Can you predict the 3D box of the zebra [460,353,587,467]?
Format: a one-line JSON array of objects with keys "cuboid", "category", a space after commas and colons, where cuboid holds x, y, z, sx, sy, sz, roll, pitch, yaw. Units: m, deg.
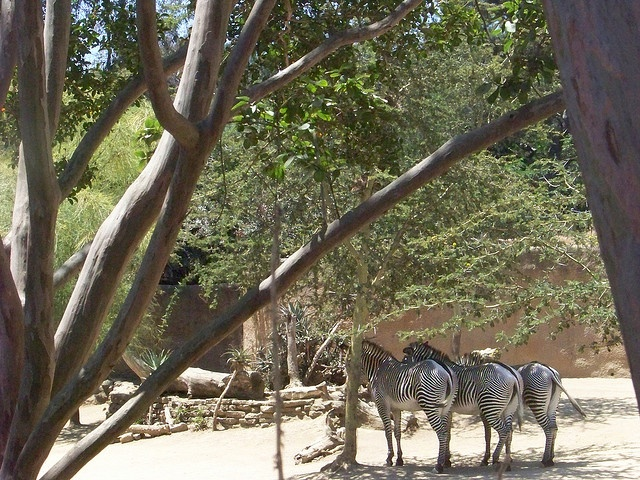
[{"cuboid": [2.698, 2.390, 11.597, 2.135, 1.774, 0.555, -7, -1, 40], "category": "zebra"}]
